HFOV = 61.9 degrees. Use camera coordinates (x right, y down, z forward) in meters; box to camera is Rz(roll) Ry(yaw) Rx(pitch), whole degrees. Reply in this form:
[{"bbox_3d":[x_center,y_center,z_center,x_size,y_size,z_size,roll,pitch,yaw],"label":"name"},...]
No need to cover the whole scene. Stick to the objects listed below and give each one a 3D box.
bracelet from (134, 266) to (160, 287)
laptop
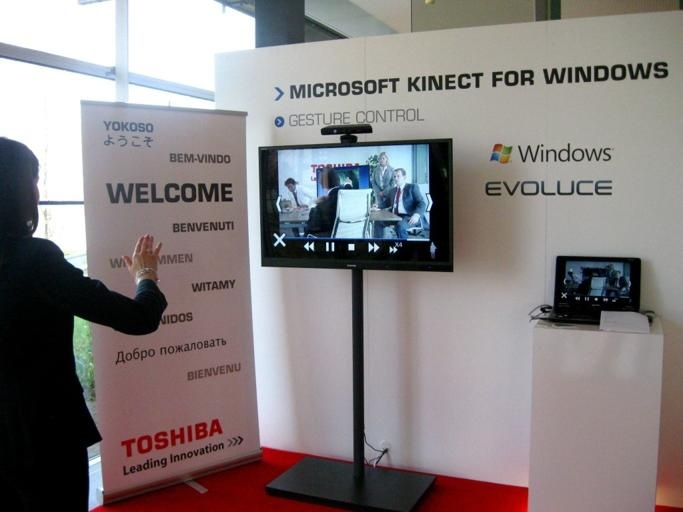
[{"bbox_3d":[-0.902,0.099,2.672,0.074,0.069,0.082,0,-3,9],"label":"bracelet"},{"bbox_3d":[1.629,0.072,3.633,0.502,0.462,0.448,1,-34,33],"label":"laptop"}]
